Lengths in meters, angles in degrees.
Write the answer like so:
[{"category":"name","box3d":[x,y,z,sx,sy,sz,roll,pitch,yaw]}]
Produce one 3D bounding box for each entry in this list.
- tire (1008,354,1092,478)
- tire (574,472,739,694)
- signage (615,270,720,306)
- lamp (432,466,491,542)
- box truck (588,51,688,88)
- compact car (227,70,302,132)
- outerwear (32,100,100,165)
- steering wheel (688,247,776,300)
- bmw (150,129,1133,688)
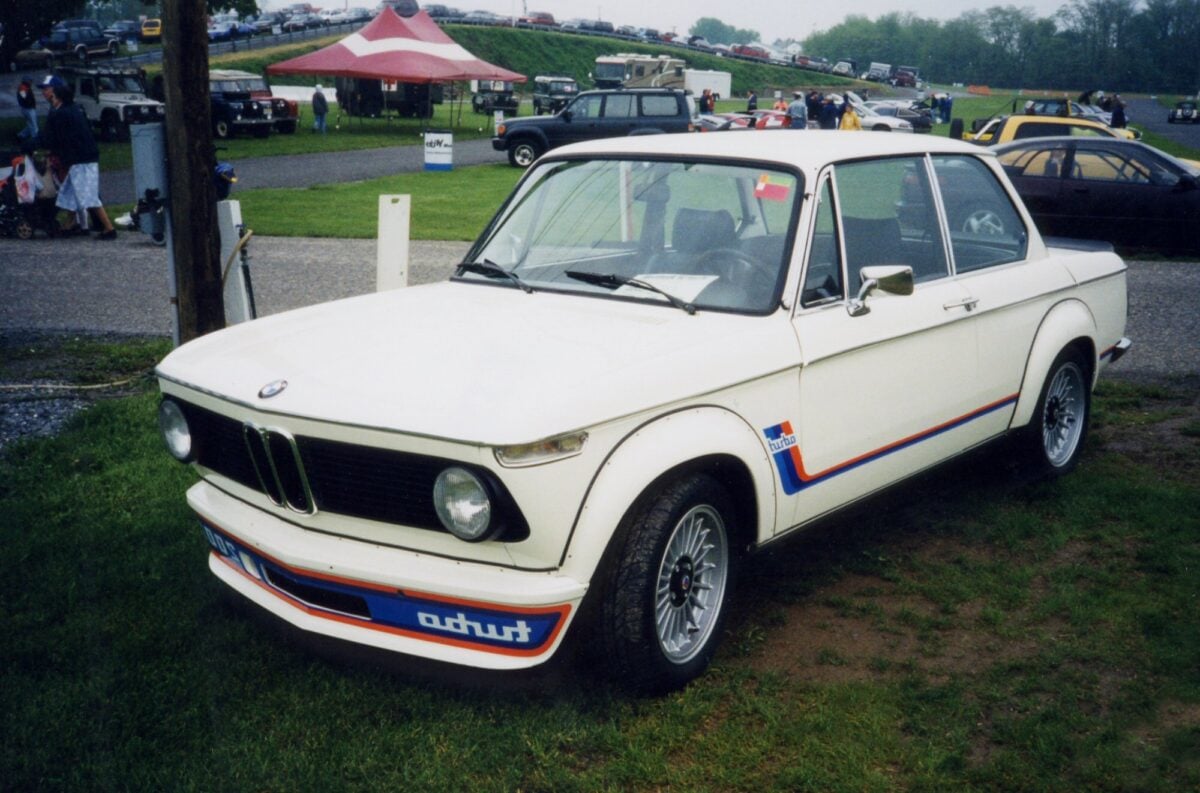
[{"category":"tire","box3d":[3.066,0.113,6.080,0.242,0.715,0.694,10,-5,46]},{"category":"tire","box3d":[0.325,0.884,4.234,0.898,1.033,0.258,-16,22,-40]},{"category":"signage","box3d":[0.411,-0.605,4.752,0.274,0.071,0.275,7,32,17]},{"category":"lamp","box3d":[-0.583,0.446,3.824,0.249,0.291,0.125,-14,2,18]},{"category":"box truck","box3d":[2.097,-16.605,44.937,4.380,1.645,3.962,-1,17,2]},{"category":"compact car","box3d":[-12.112,-10.738,32.212,2.926,1.660,1.817,24,27,37]},{"category":"outerwear","box3d":[-8.231,-4.040,13.671,0.654,0.946,0.552,1,17,6]},{"category":"steering wheel","box3d":[0.718,-0.645,4.719,0.310,0.100,0.336,24,-3,1]},{"category":"bmw","box3d":[0.867,-0.166,5.358,5.419,1.889,2.541,-12,16,-42]}]
